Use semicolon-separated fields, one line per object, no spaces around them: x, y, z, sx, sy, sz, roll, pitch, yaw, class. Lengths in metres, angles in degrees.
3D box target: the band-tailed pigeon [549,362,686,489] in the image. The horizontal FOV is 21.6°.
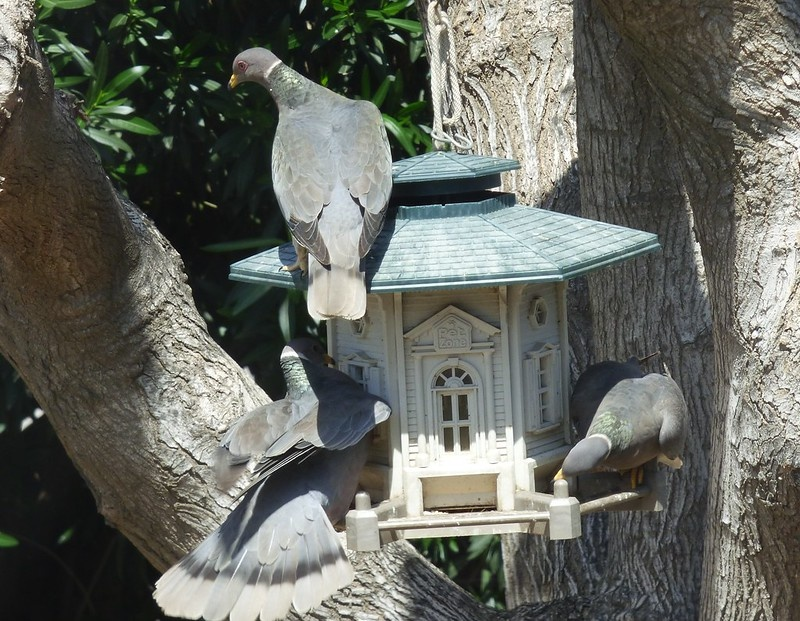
0.997;0.495;9.793;0.340;0.790;0.442;3;-18;30;band-tailed pigeon
